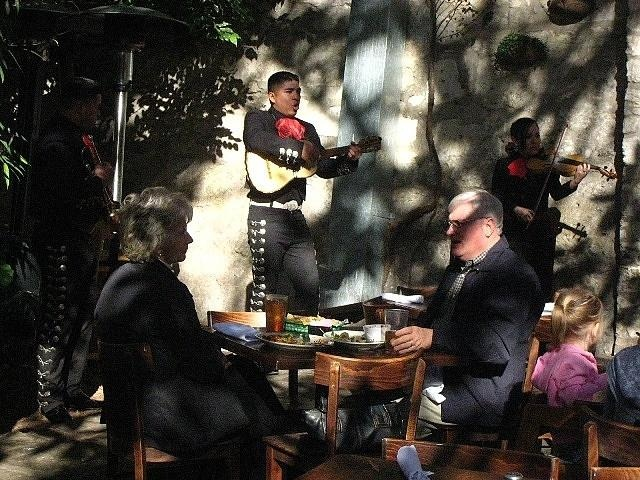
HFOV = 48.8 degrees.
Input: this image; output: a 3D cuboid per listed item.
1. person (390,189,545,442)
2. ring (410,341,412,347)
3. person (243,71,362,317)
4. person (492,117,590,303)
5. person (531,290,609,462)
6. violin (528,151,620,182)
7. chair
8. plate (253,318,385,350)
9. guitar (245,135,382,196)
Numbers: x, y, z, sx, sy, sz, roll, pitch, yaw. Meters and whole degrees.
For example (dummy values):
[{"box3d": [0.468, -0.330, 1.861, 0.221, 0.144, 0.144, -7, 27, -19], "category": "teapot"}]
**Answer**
[{"box3d": [0.803, 0.457, 3.828, 0.699, 1.441, 0.632, 2, -1, -28], "category": "person"}, {"box3d": [0.446, 0.506, 3.437, 0.012, 0.015, 0.004, 6, 4, 34], "category": "ring"}, {"box3d": [-0.214, -0.297, 6.013, 0.883, 2.112, 0.819, -2, 12, -34], "category": "person"}, {"box3d": [1.857, -0.105, 5.884, 0.779, 1.654, 0.565, 10, 19, 43], "category": "person"}, {"box3d": [1.265, 0.663, 3.700, 0.415, 0.802, 0.412, 6, 10, 27], "category": "person"}, {"box3d": [2.068, -0.592, 5.850, 0.729, 0.270, 0.114, 16, -30, 17], "category": "violin"}, {"box3d": [0.215, 0.703, 3.416, 1.004, 1.158, 0.894, 1, 1, -35], "category": "chair"}, {"box3d": [-0.017, 0.490, 3.578, 0.485, 0.132, 0.485, -4, 8, -30], "category": "plate"}, {"box3d": [-0.177, -0.654, 5.967, 1.119, 0.478, 0.813, -4, 10, -36], "category": "guitar"}]
